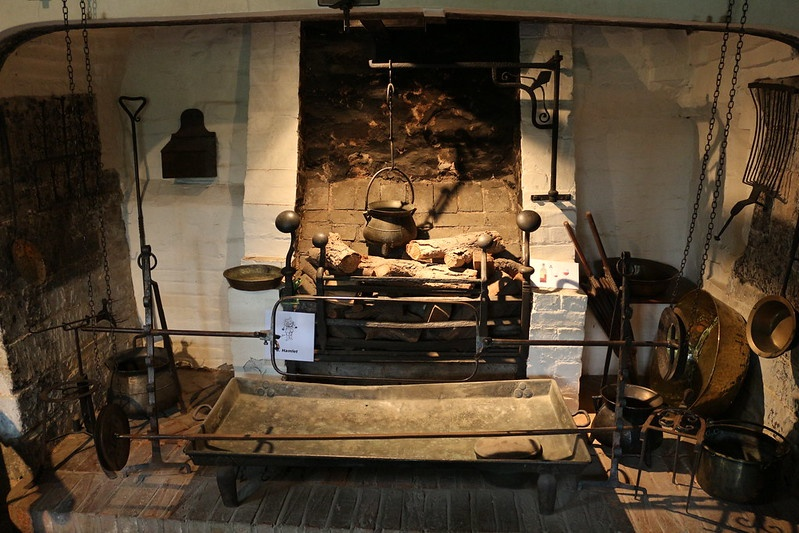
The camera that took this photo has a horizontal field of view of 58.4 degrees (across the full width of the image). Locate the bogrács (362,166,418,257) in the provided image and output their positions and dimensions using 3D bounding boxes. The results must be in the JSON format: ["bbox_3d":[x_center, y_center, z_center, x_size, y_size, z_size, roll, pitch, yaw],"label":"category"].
[{"bbox_3d":[-0.110,-0.569,6.974,0.577,0.809,0.545,-4,24,-33],"label":"bogrács"}]

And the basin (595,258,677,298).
[{"bbox_3d":[2.320,0.119,7.087,0.758,0.382,0.839,2,5,20],"label":"basin"}]

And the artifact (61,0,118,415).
[{"bbox_3d":[-2.820,-0.311,6.765,0.501,4.142,0.235,-4,5,-14],"label":"artifact"}]

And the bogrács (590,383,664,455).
[{"bbox_3d":[2.014,1.342,6.339,0.655,0.444,0.619,1,13,-7],"label":"bogrács"}]

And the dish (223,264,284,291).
[{"bbox_3d":[-1.393,0.112,6.846,0.550,0.252,0.349,-1,5,-12],"label":"dish"}]

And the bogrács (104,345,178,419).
[{"bbox_3d":[-2.389,1.089,6.709,0.622,0.602,0.528,-1,6,-14],"label":"bogrács"}]

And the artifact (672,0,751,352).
[{"bbox_3d":[2.762,-0.900,6.424,0.465,2.433,1.885,3,6,21],"label":"artifact"}]

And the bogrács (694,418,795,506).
[{"bbox_3d":[2.763,1.612,5.964,0.619,0.446,0.595,10,20,24],"label":"bogrács"}]
